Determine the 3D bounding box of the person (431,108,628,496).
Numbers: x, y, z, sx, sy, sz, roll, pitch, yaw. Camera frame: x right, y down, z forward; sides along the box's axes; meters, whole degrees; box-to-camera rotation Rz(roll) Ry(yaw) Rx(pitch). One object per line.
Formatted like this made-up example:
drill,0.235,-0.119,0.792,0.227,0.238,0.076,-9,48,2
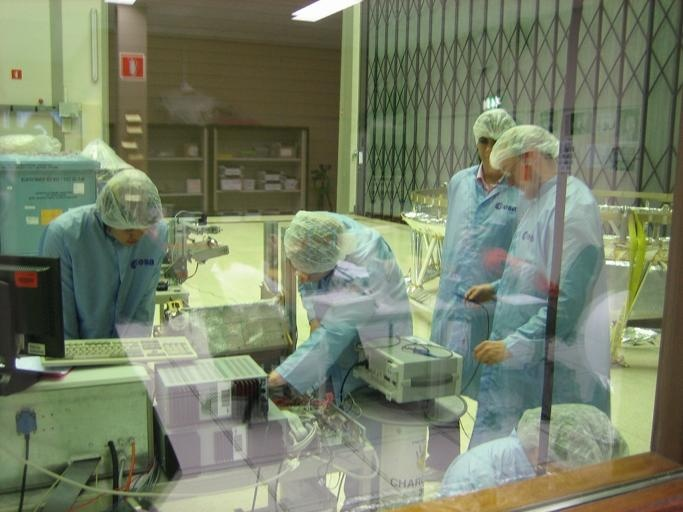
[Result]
person,0.534,0.111,1.592,0.426,0.914,0.597,2,9,23

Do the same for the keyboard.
keyboard,-0.531,0.225,1.486,0.348,0.045,0.161,-4,9,-12
